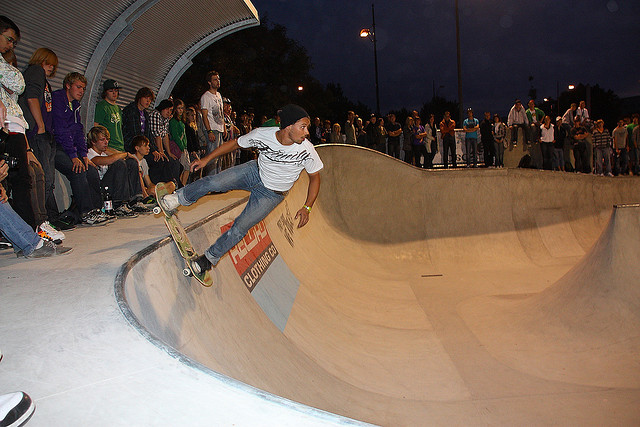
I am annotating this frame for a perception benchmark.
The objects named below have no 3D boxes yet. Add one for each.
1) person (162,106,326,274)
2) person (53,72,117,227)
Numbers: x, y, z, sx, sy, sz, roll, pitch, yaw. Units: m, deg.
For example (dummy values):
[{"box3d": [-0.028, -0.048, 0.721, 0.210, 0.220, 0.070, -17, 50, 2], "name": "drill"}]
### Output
[{"box3d": [-0.795, -0.479, 5.778, 2.253, 1.607, 0.688, -32, 9, -11], "name": "person"}, {"box3d": [-3.810, -0.983, 6.927, 0.712, 2.363, 0.750, 8, 15, 25], "name": "person"}]
